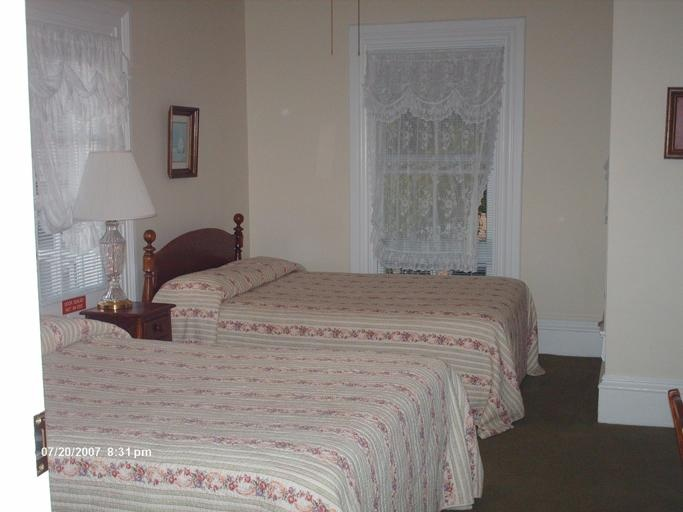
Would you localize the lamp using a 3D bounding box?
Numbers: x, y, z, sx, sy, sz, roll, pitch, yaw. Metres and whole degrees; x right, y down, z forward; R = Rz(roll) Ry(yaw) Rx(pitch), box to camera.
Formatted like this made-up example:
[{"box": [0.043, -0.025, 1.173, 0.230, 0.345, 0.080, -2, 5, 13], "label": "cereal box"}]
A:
[{"box": [-1.531, -0.158, 3.872, 0.511, 1.045, 0.351, 3, 10, 16], "label": "lamp"}]
